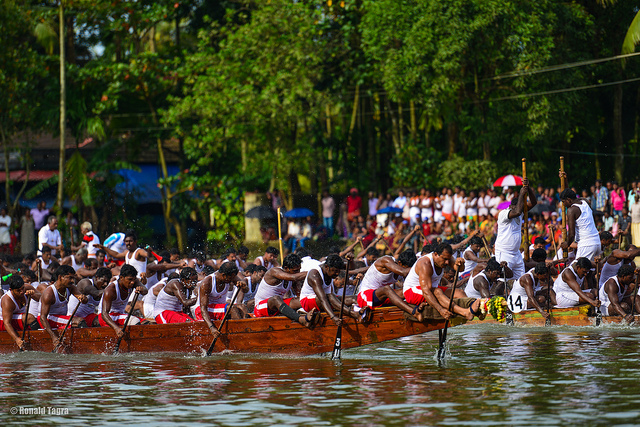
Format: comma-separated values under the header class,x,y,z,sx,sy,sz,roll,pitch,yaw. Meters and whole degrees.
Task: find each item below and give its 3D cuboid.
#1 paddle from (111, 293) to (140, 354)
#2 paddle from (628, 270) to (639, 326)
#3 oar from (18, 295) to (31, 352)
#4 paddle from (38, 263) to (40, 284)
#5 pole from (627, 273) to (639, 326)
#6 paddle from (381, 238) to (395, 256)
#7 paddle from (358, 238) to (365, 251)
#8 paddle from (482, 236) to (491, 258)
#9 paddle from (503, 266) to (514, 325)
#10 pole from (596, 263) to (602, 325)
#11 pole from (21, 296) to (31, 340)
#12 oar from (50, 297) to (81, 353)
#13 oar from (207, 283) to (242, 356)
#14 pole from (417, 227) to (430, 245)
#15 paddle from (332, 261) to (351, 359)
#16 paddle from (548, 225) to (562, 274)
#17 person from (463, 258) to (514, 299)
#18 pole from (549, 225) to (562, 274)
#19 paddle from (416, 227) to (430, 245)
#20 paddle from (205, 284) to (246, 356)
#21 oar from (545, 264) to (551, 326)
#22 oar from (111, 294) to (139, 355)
class,x,y,z,sx,sy,sz,roll,pitch,yaw
paddle,-5.052,2.843,34.027,0.155,1.664,0.209,3,25,-43
paddle,8.329,2.202,34.981,0.276,1.476,0.431,-2,-1,-21
oar,-7.636,2.656,34.281,0.246,1.176,0.702,-2,-1,-14
paddle,-7.893,1.620,36.967,0.048,0.482,0.337,-2,-1,-12
pole,8.351,2.115,35.100,0.186,1.703,0.221,5,6,-2
paddle,2.085,1.051,41.289,0.076,0.554,0.060,-22,-14,-33
paddle,1.293,0.933,42.122,0.089,0.506,0.094,-14,34,12
paddle,4.575,0.914,36.795,0.095,0.627,0.152,-25,-8,27
paddle,5.080,2.302,35.925,0.209,1.777,0.195,-2,9,22
pole,7.476,2.158,35.598,0.160,1.611,0.544,-2,-1,13
pole,-7.656,2.701,34.273,0.113,1.166,0.129,2,-21,16
oar,-6.477,2.743,34.154,0.550,1.112,0.278,-2,-1,-35
oar,-2.553,2.685,33.908,0.653,1.891,0.951,2,-1,10
pole,3.192,0.672,41.081,0.063,0.582,0.076,-35,-1,39
paddle,0.505,2.427,33.197,0.451,2.322,0.507,1,-1,1
paddle,6.838,1.048,38.590,0.107,1.426,0.203,-10,-23,-7
person,4.440,1.756,35.373,1.771,1.472,0.934,1,-2,19
pole,6.718,1.155,37.767,0.079,1.070,0.132,-15,-3,-16
paddle,2.835,0.595,36.449,0.135,0.536,0.180,-36,-4,39
paddle,-2.478,2.742,33.792,0.251,1.840,0.244,32,-5,-34
oar,6.091,2.204,35.478,0.196,1.601,0.468,-2,-1,9
oar,-4.993,2.797,33.976,0.486,1.344,0.625,-2,-1,-43
